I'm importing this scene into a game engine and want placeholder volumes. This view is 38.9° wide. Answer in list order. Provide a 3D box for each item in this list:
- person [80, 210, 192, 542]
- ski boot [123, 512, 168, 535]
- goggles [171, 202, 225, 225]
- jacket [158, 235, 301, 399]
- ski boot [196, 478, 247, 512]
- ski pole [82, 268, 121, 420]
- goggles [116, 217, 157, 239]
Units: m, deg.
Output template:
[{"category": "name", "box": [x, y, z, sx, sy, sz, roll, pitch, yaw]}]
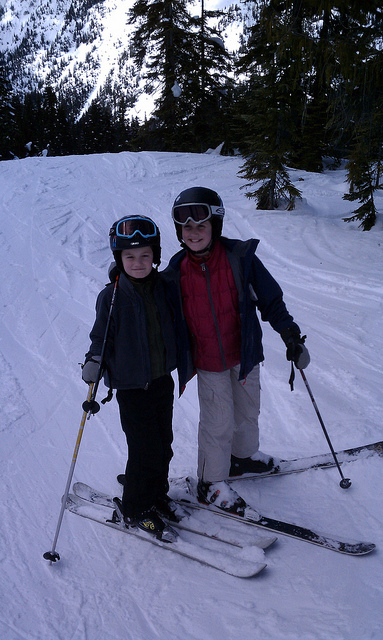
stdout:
[{"category": "person", "box": [-0.293, 0.383, 3.205, 0.588, 1.903, 0.708, 3, 22, 11]}, {"category": "ski boot", "box": [-0.255, 1.196, 3.245, 0.253, 0.151, 0.109, -10, 0, 19]}, {"category": "goggles", "box": [0.036, -0.635, 3.218, 0.312, 0.132, 0.166, -1, 22, 0]}, {"category": "jacket", "box": [0.162, -0.079, 3.403, 1.020, 0.906, 0.407, -7, 16, 16]}, {"category": "ski boot", "box": [0.172, 1.084, 3.412, 0.358, 0.216, 0.130, -3, -4, 38]}, {"category": "ski pole", "box": [-0.481, 0.116, 3.057, 0.096, 0.854, 0.095, 18, -18, -27]}, {"category": "goggles", "box": [-0.314, -0.524, 3.081, 0.226, 0.122, 0.117, -3, 22, -4]}]
